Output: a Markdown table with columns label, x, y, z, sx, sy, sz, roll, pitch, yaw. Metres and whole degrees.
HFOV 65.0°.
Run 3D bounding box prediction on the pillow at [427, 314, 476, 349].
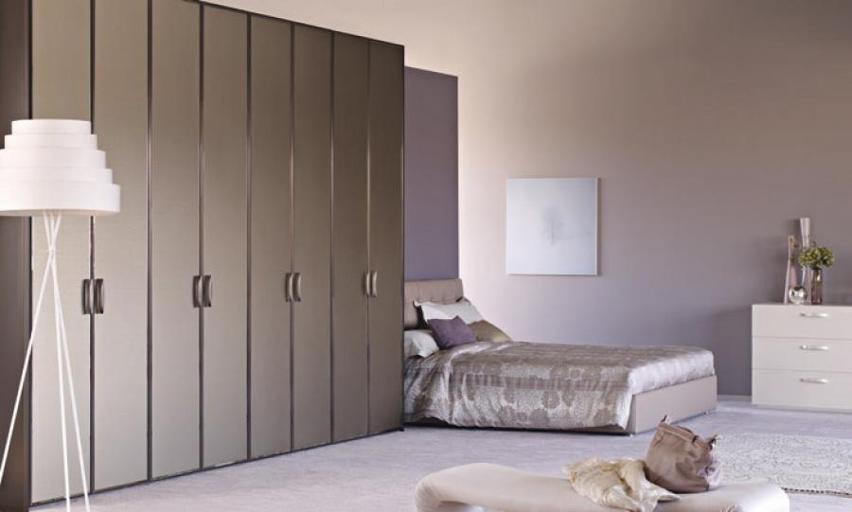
| label | x | y | z | sx | sy | sz | roll | pitch | yaw |
| --- | --- | --- | --- | --- | --- | --- | --- | --- | --- |
| pillow | 0.281 | 0.782 | 7.091 | 0.284 | 0.244 | 0.667 | 11 | 0 | 37 |

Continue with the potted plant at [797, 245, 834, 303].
| label | x | y | z | sx | sy | sz | roll | pitch | yaw |
| --- | --- | --- | --- | --- | --- | --- | --- | --- | --- |
| potted plant | 4.443 | 0.198 | 7.632 | 0.345 | 0.656 | 0.396 | 1 | 3 | 29 |

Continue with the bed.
| label | x | y | z | sx | sy | sz | roll | pitch | yaw |
| --- | --- | --- | --- | --- | --- | --- | --- | --- | --- |
| bed | 1.221 | 1.068 | 6.790 | 2.254 | 0.997 | 1.804 | -1 | -1 | 22 |

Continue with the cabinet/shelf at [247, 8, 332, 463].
| label | x | y | z | sx | sy | sz | roll | pitch | yaw |
| --- | --- | --- | --- | --- | --- | --- | --- | --- | --- |
| cabinet/shelf | -1.213 | -0.068 | 5.884 | 0.278 | 3.816 | 0.978 | 11 | 14 | 43 |
